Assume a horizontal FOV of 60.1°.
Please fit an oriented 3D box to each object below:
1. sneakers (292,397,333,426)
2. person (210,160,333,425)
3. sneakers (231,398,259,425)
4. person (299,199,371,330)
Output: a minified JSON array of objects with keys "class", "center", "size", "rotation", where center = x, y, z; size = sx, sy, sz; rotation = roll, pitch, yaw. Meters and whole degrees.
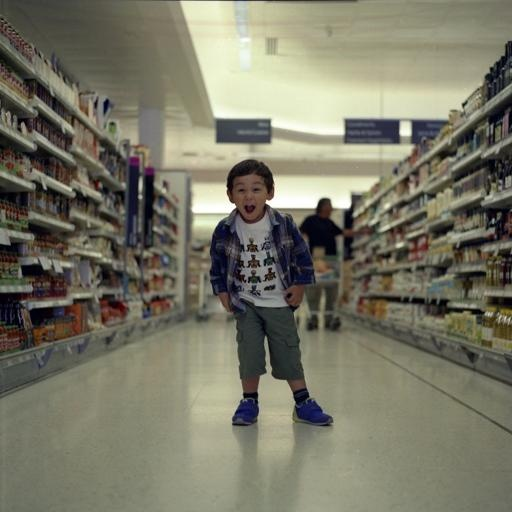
[{"class":"sneakers","center":[0.244,0.662,1.954],"size":[0.070,0.097,0.192],"rotation":[2,-4,-36]},{"class":"person","center":[0.056,0.129,2.002],"size":[0.515,1.163,0.344],"rotation":[0,-2,-8]},{"class":"sneakers","center":[-0.047,0.674,1.938],"size":[0.100,0.081,0.202],"rotation":[0,-2,6]},{"class":"person","center":[1.276,0.235,7.987],"size":[1.115,2.610,0.926],"rotation":[0,5,13]}]
